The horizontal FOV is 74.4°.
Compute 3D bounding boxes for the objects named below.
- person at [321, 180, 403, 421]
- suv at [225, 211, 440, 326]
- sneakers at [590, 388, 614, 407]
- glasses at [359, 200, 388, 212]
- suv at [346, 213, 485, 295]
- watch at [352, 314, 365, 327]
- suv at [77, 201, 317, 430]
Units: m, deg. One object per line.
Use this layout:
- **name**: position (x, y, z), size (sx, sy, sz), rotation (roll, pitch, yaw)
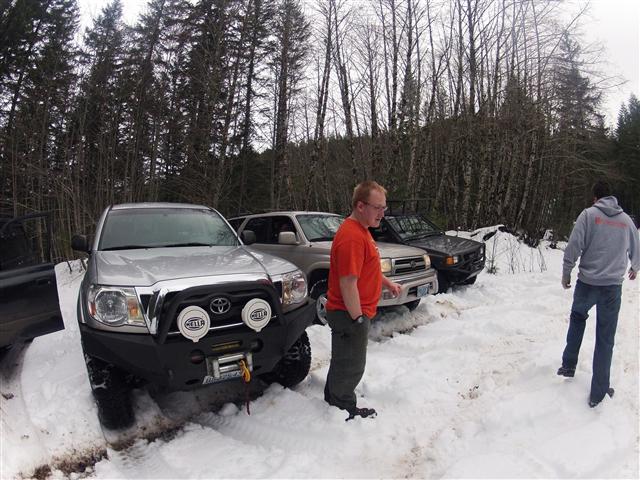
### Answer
- **person**: position (0.403, 0.726, 4.797), size (0.713, 2.757, 0.494), rotation (-1, 5, 0)
- **suv**: position (0.086, 0.277, 7.903), size (3.448, 1.609, 1.969), rotation (-3, -2, 38)
- **sneakers**: position (3.211, 1.803, 4.796), size (0.168, 0.184, 0.058), rotation (37, -3, -25)
- **glasses**: position (0.618, -0.367, 4.755), size (0.270, 0.106, 0.125), rotation (-2, 6, -8)
- **suv**: position (2.234, 0.247, 9.601), size (1.452, 1.282, 2.587), rotation (-6, 9, -44)
- **watch**: position (0.437, 0.889, 4.610), size (0.089, 0.074, 0.119), rotation (-3, -4, -5)
- **suv**: position (-2.515, 0.783, 6.856), size (2.948, 2.919, 5.175), rotation (-4, 6, -38)
